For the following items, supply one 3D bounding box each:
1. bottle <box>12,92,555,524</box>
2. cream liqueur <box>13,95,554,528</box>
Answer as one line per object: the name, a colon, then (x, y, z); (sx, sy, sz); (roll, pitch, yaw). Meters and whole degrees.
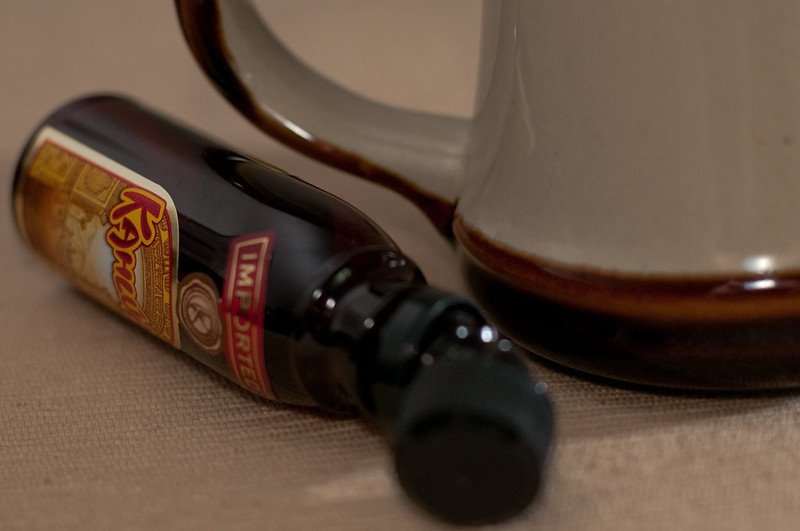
bottle: (-0.087, -0.008, 0.591); (0.429, 0.149, 0.147); (28, 66, 25)
cream liqueur: (-0.067, 0.017, 0.548); (0.429, 0.149, 0.147); (28, 67, 25)
